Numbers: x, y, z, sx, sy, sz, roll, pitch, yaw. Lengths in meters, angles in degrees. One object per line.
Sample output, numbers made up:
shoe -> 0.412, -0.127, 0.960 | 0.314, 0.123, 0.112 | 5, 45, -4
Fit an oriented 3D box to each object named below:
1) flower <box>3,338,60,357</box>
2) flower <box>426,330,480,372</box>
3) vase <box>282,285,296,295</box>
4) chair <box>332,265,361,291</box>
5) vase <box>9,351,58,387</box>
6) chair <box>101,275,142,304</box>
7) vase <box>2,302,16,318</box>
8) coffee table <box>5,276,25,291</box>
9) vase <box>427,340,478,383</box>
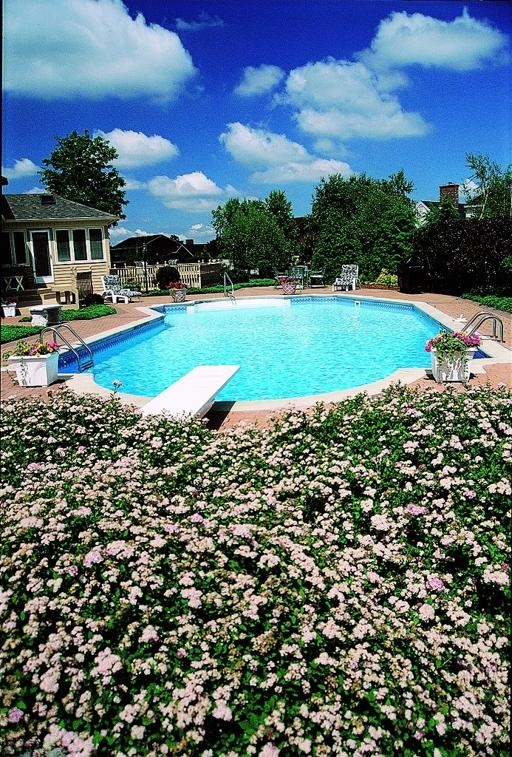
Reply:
flower -> -4.914, -0.656, 9.649 | 0.543, 0.223, 0.661 | 5, 15, 19
flower -> 3.377, -0.623, 7.696 | 0.708, 0.559, 0.579 | -3, 29, 10
vase -> 2.014, -5.431, 27.470 | 0.631, 0.500, 0.656 | 2, 23, 12
chair -> 5.583, -6.161, 27.782 | 1.381, 1.906, 2.117 | 7, 21, 25
vase -> -4.249, -0.185, 8.671 | 0.718, 0.590, 0.700 | 0, 16, 0
chair -> -7.953, -5.115, 25.694 | 1.751, 1.640, 2.023 | -7, 11, -20
vase -> -10.019, -2.680, 18.013 | 0.450, 0.545, 1.262 | -9, 12, -29
coffee table -> -11.620, -4.471, 21.299 | 0.784, 0.696, 0.918 | -9, 11, -29
vase -> 3.433, -0.290, 7.882 | 0.585, 0.489, 0.634 | 0, 5, 8
